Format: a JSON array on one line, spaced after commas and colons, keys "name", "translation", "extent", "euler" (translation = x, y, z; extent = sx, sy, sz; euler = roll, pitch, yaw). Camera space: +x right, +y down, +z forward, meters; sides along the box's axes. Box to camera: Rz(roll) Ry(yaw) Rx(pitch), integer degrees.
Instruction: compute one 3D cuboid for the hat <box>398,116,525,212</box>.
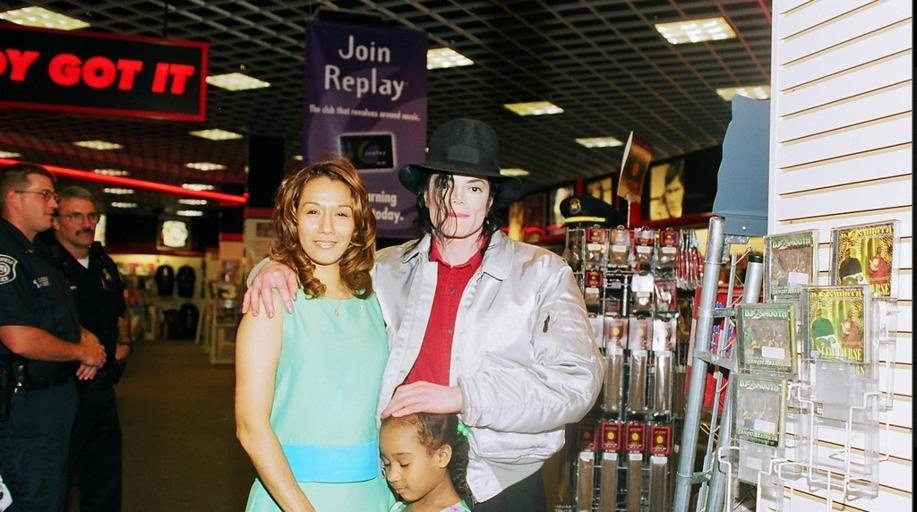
[{"name": "hat", "translation": [0.032, -0.467, 4.783], "extent": [0.625, 0.328, 0.648], "euler": [5, -13, 3]}]
